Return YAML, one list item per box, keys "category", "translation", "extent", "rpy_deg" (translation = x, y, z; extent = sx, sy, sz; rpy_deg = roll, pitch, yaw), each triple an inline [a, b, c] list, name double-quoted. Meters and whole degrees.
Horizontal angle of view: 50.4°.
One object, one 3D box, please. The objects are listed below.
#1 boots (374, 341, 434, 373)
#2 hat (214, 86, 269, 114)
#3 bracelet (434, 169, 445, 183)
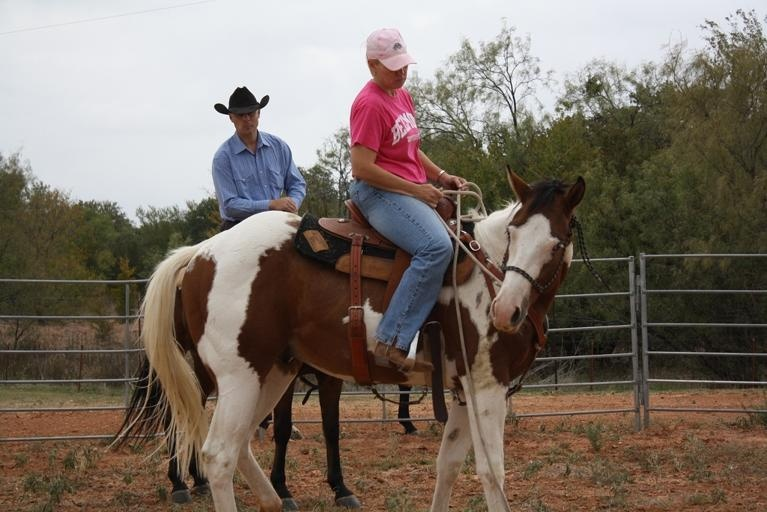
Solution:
- category: "boots"
  translation: [0.264, 1.613, 12.715]
  extent: [0.656, 0.233, 0.508]
  rpy_deg: [14, 1, -2]
- category: "hat"
  translation: [-2.475, -2.678, 14.243]
  extent: [0.887, 0.477, 0.535]
  rpy_deg: [-2, -2, -12]
- category: "bracelet"
  translation: [0.957, -1.316, 13.457]
  extent: [0.061, 0.191, 0.144]
  rpy_deg: [4, -5, -11]
